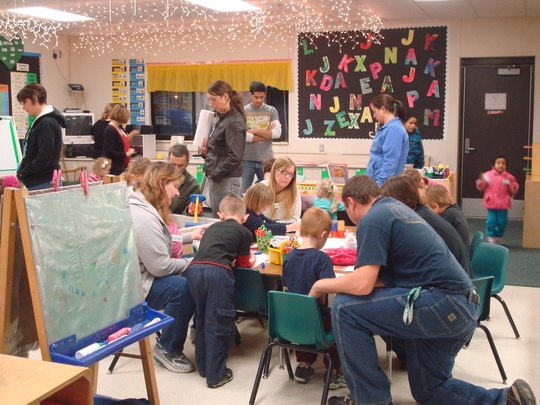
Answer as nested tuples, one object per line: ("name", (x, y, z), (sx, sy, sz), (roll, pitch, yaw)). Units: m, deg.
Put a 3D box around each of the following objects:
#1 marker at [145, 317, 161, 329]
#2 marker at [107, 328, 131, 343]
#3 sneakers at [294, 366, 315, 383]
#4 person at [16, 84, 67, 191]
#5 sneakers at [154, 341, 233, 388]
("marker", (-0.622, 0.638, 2.502), (0.080, 0.034, 0.028), (-6, 0, 3))
("marker", (-0.756, 0.659, 2.353), (0.035, 0.035, 0.130), (38, 35, 30))
("sneakers", (0.208, 1.091, 3.002), (0.060, 0.072, 0.148), (1, 4, 25))
("person", (-2.237, -0.650, 4.612), (0.474, 1.017, 0.485), (-6, 11, -39))
("sneakers", (-0.530, 1.069, 3.149), (0.587, 0.269, 0.208), (12, 13, 15))
